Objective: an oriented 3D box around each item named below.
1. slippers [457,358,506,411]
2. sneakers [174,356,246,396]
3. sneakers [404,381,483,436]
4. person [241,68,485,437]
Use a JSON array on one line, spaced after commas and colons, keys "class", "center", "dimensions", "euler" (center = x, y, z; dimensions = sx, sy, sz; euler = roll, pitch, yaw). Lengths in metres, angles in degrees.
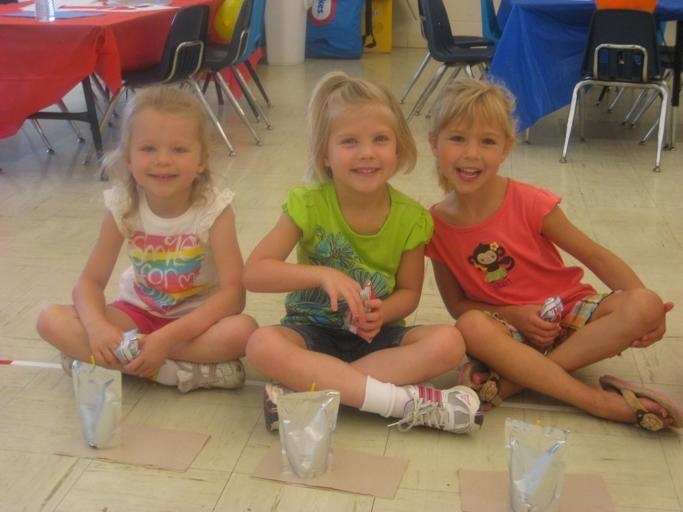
[{"class": "slippers", "center": [0.350, 0.321, 1.417], "dimensions": [0.124, 0.085, 0.042], "euler": [43, -1, 2]}, {"class": "sneakers", "center": [-0.336, 0.306, 1.440], "dimensions": [0.142, 0.056, 0.086], "euler": [1, 9, -8]}, {"class": "sneakers", "center": [0.241, 0.346, 1.298], "dimensions": [0.198, 0.087, 0.086], "euler": [2, 5, 10]}, {"class": "person", "center": [0.049, -0.006, 1.393], "dimensions": [0.578, 0.768, 0.578], "euler": [1, 29, 5]}]
